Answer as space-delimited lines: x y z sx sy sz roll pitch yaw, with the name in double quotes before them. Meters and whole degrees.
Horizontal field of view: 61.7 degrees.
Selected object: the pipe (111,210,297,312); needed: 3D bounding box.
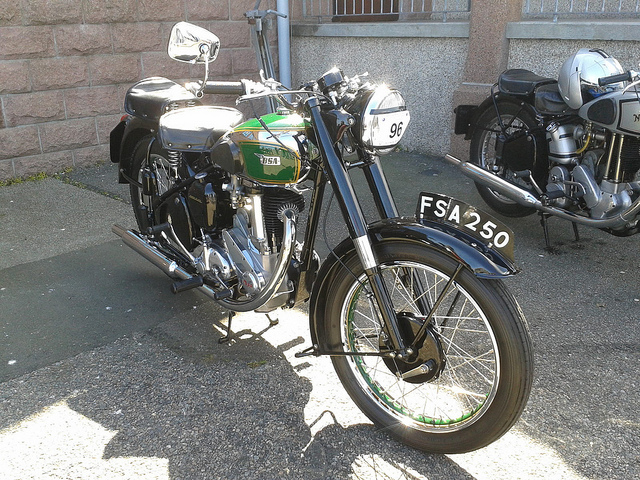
"pipe" -0.605 0.083 3.095 0.808 0.716 0.899 -10 26 -36
